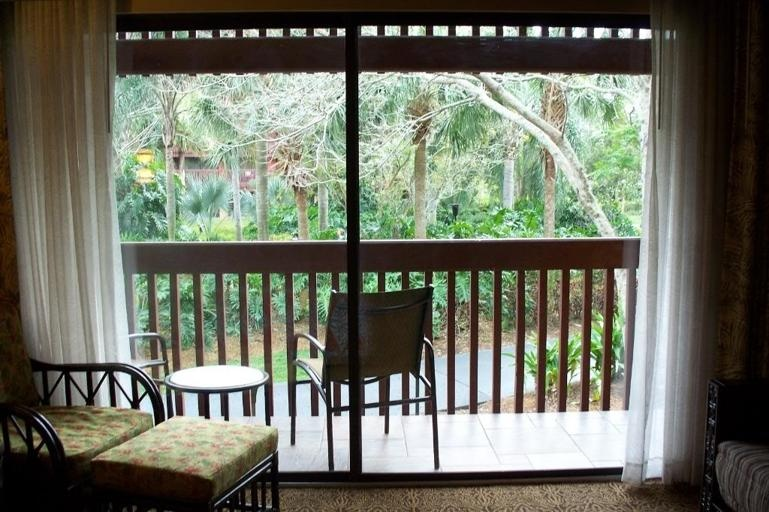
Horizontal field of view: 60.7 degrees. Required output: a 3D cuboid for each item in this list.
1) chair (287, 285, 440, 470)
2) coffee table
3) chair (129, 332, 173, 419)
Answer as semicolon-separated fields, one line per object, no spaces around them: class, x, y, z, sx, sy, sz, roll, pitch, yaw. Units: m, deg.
chair;-0.153;0.761;4.301;0.935;1.159;1.013;-1;4;-4
coffee table;-1.012;0.792;4.126;0.405;0.291;0.409;2;10;4
chair;-1.440;0.758;3.979;0.296;0.523;0.291;-8;7;-16
